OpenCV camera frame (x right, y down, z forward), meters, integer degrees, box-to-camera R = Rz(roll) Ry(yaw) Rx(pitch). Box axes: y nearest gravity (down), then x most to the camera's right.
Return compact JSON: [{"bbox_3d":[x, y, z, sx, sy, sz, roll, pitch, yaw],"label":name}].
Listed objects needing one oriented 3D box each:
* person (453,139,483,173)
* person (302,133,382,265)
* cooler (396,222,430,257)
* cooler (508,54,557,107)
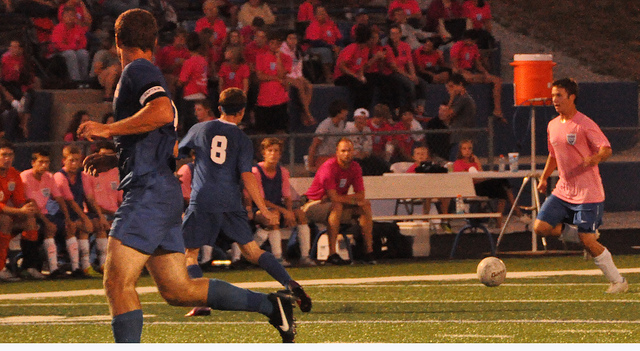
[{"bbox_3d":[3.860,-0.549,31.556,0.704,0.804,0.829,0,4,5],"label":"person"},{"bbox_3d":[0.473,0.589,29.344,1.628,3.064,0.632,0,5,-2],"label":"person"},{"bbox_3d":[2.441,1.560,30.303,0.944,0.945,1.093,0,-2,0],"label":"cooler"},{"bbox_3d":[5.907,-2.561,31.576,1.549,1.192,1.329,0,0,19],"label":"cooler"}]
